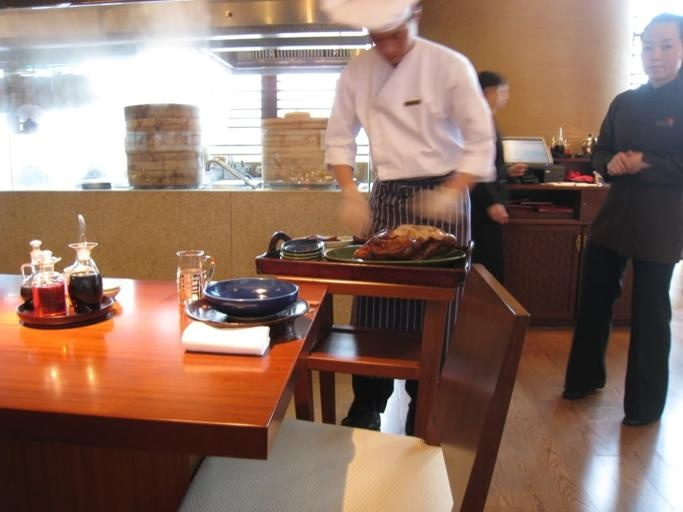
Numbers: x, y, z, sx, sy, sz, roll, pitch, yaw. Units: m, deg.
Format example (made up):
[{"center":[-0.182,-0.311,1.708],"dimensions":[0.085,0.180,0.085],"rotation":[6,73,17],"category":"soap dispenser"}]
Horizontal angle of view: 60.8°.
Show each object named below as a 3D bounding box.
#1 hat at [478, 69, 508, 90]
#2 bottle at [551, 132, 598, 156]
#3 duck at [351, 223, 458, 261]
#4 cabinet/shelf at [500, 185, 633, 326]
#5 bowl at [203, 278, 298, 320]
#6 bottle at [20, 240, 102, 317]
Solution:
[{"center":[0.828,-0.978,3.257],"dimensions":[0.148,0.068,0.206],"rotation":[-1,20,3],"category":"hat"},{"center":[1.697,-0.813,4.239],"dimensions":[0.340,0.150,0.348],"rotation":[-4,24,2],"category":"bottle"},{"center":[0.211,-0.039,1.822],"dimensions":[0.254,0.087,0.135],"rotation":[-3,3,-4],"category":"duck"},{"center":[1.316,-0.011,3.417],"dimensions":[0.890,0.852,0.354],"rotation":[0,4,6],"category":"cabinet/shelf"},{"center":[-0.252,0.113,1.606],"dimensions":[0.154,0.041,0.151],"rotation":[1,16,0],"category":"bowl"},{"center":[-0.811,0.064,1.789],"dimensions":[0.282,0.276,0.147],"rotation":[-3,11,-23],"category":"bottle"}]
